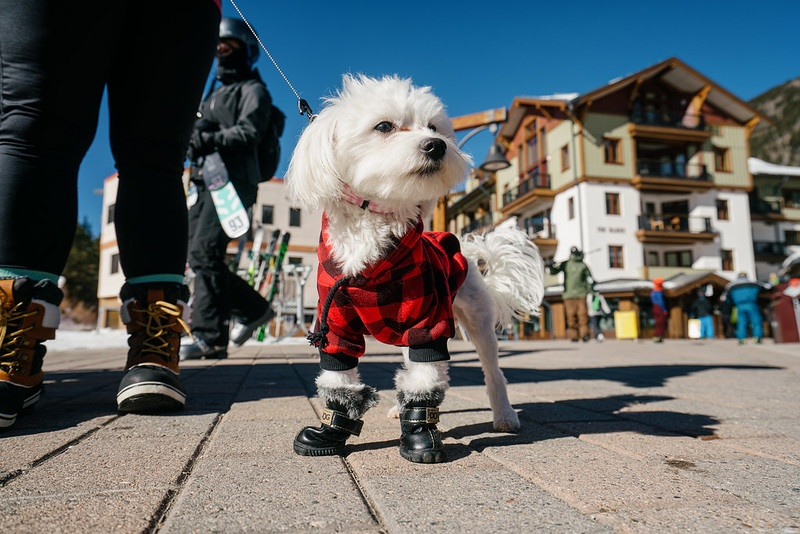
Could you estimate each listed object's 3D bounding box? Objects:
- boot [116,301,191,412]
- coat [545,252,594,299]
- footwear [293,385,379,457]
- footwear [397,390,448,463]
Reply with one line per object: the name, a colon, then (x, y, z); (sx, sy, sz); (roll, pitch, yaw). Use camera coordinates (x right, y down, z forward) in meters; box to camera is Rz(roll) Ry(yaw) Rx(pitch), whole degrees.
boot: (-1.362, 0.473, 3.317); (0.338, 0.611, 0.295); (-2, 9, -18)
coat: (3.337, 0.356, 11.765); (0.981, 1.364, 0.392); (-2, 7, 4)
footwear: (-0.319, 0.759, 2.974); (0.205, 0.283, 0.444); (6, 10, 30)
footwear: (0.101, 0.749, 2.913); (0.223, 0.259, 0.324); (1, 9, 0)
